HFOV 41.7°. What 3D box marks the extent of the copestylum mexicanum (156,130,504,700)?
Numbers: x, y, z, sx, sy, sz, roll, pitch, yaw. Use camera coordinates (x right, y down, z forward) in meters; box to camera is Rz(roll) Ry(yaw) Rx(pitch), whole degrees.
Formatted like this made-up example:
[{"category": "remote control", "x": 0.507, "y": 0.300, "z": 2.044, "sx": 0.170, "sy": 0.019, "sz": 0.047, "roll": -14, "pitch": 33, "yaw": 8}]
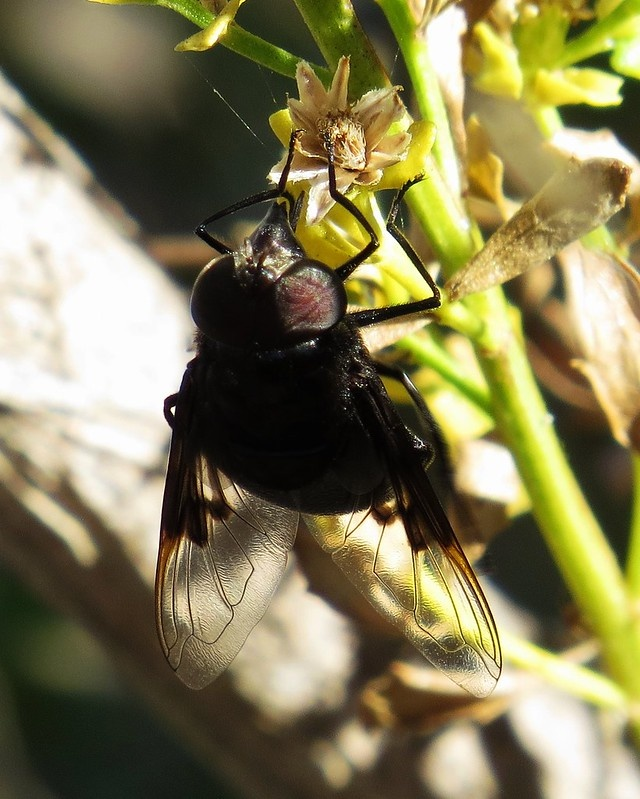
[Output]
[{"category": "copestylum mexicanum", "x": 0.024, "y": 0.022, "z": 0.658, "sx": 0.272, "sy": 0.334, "sz": 0.108, "roll": -3, "pitch": 28, "yaw": 18}]
